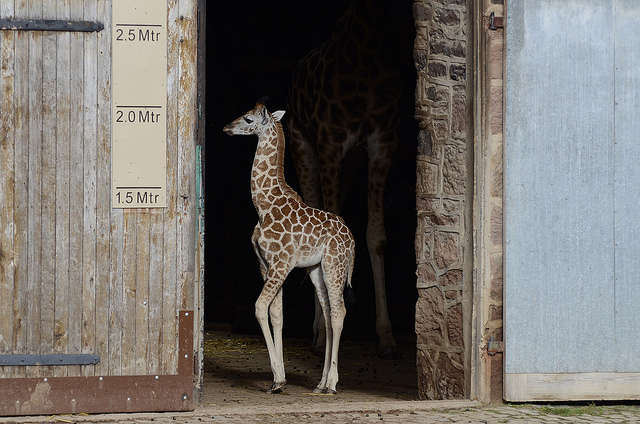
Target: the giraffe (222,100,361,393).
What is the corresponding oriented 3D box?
[{"bbox_3d":[-0.206,0.209,10.281,1.006,2.183,2.138,1,3,1],"label":"giraffe"}]
